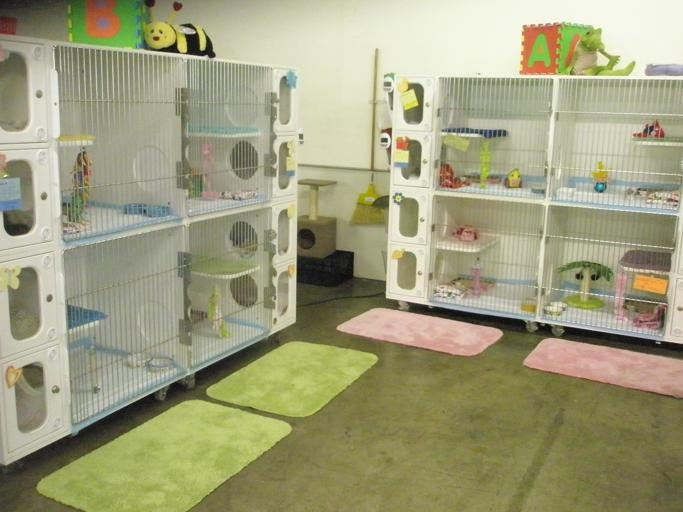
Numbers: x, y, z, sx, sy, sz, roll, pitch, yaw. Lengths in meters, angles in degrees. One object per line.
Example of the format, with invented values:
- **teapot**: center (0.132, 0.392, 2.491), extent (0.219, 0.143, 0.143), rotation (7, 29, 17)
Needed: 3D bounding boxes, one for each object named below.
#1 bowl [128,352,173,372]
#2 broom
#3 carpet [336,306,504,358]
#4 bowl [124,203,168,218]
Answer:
- **bowl**: center (-1.193, 0.645, 3.305), extent (0.218, 0.044, 0.135), rotation (4, 7, 3)
- **broom**: center (0.352, -1.160, 5.460), extent (0.531, 1.882, 0.149), rotation (-12, 23, -41)
- **carpet**: center (0.661, 0.613, 4.384), extent (1.236, 0.042, 0.684), rotation (7, 16, 24)
- **bowl**: center (-1.154, -0.270, 3.167), extent (0.270, 0.064, 0.149), rotation (-3, 15, -11)
